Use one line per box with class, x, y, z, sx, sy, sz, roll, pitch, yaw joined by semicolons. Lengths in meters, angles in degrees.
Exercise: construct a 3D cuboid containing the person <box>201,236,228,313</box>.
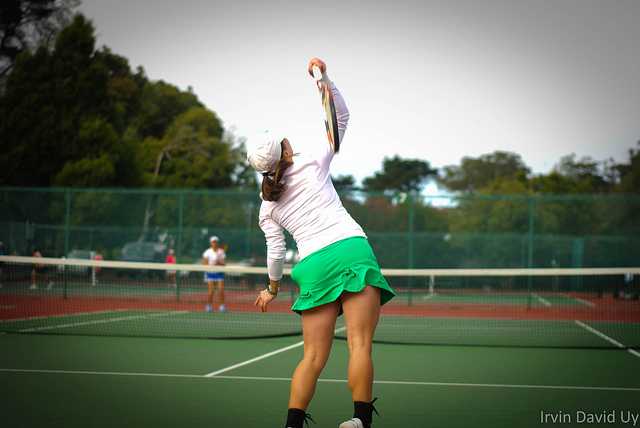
person;-2.529;1.514;14.524;0.601;1.784;1.293;0;4;-11
